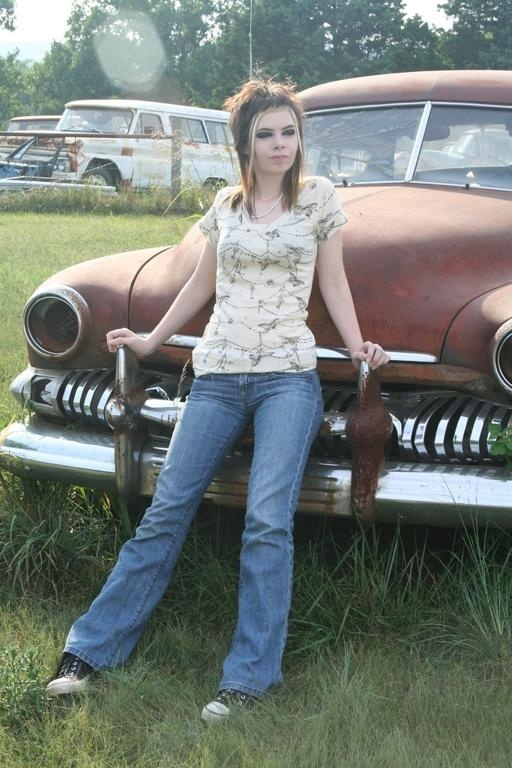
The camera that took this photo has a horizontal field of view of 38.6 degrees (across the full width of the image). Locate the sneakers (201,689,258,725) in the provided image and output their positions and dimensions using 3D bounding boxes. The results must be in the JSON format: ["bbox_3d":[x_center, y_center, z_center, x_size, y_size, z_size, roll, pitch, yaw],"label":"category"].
[{"bbox_3d":[-0.053,0.723,1.686,0.138,0.054,0.053,-19,35,-35],"label":"sneakers"}]

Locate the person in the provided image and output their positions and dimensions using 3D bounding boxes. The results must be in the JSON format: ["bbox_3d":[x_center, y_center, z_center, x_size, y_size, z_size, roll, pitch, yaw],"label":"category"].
[{"bbox_3d":[-0.063,-0.056,1.931,0.664,1.527,0.913,5,14,8],"label":"person"}]
